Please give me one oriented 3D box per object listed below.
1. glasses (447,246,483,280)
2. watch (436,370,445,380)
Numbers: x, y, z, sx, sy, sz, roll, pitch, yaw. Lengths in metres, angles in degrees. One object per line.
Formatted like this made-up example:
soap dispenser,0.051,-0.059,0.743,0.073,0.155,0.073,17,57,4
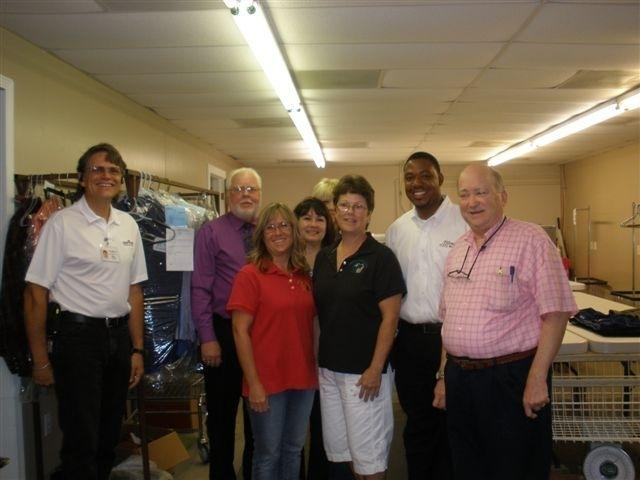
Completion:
glasses,0.905,0.151,2.978,0.053,0.183,0.171,18,-1,-8
watch,0.796,0.907,3.185,0.038,0.064,0.050,6,28,-10
